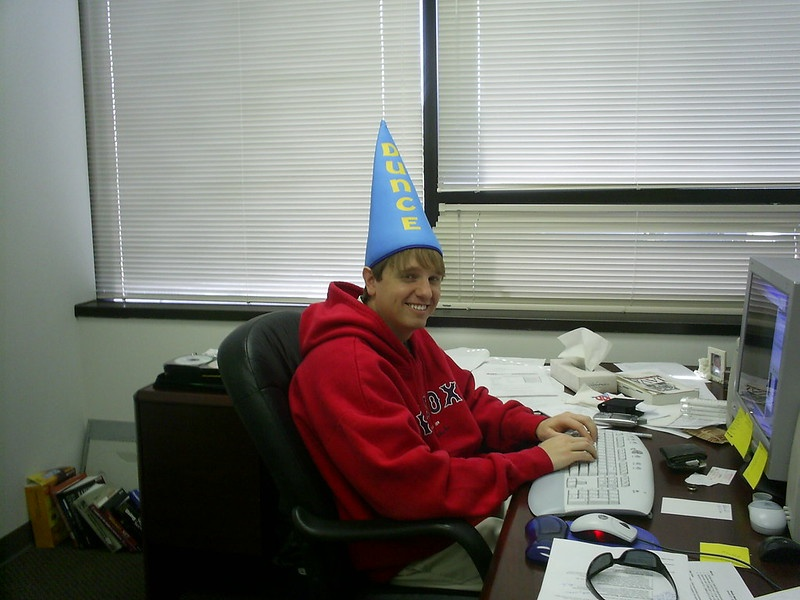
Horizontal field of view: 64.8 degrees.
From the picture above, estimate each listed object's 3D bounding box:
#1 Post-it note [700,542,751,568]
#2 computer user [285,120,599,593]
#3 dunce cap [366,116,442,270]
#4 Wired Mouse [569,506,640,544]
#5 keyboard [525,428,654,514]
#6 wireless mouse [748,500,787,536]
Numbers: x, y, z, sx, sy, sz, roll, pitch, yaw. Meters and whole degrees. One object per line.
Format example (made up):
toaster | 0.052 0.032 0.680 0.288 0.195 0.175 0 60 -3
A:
Post-it note | 0.756 0.586 1.469 0.055 0.016 0.059 0 8 8
computer user | 0.080 0.261 2.008 0.763 1.391 0.822 10 9 -8
dunce cap | 0.011 -0.326 1.953 0.251 0.450 0.208 5 15 16
Wired Mouse | 0.499 0.542 1.526 0.143 0.030 0.174 7 7 20
keyboard | 0.476 0.435 1.770 0.337 0.123 0.389 6 8 13
wireless mouse | 0.898 0.530 1.544 0.083 0.057 0.073 7 14 32
